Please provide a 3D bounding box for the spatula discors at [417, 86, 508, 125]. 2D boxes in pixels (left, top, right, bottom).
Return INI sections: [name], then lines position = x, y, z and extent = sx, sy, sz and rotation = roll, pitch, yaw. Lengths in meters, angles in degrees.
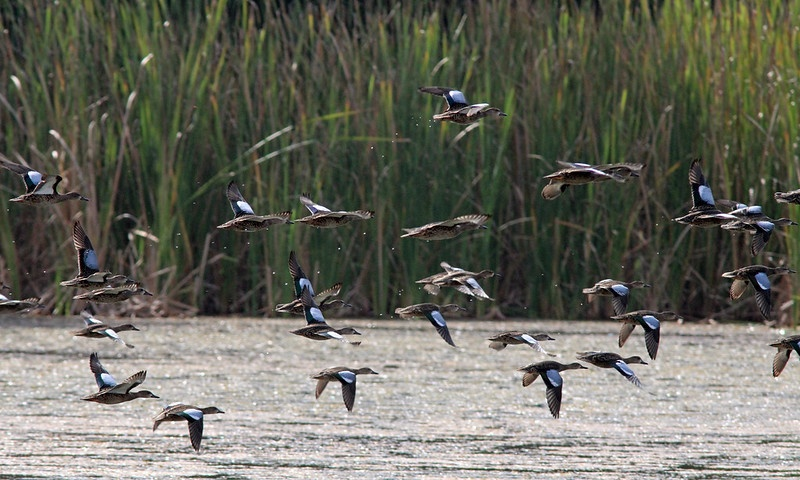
[spatula discors]
position = 0.384, -0.839, 10.642
extent = 0.482, 0.298, 0.638
rotation = 1, 15, 0
